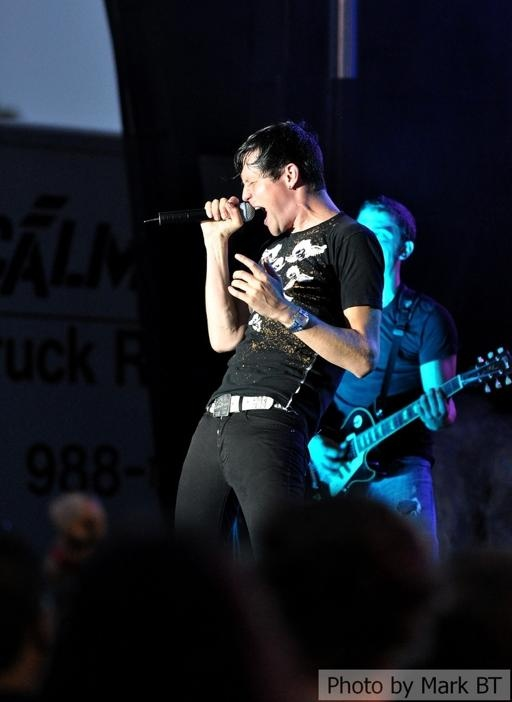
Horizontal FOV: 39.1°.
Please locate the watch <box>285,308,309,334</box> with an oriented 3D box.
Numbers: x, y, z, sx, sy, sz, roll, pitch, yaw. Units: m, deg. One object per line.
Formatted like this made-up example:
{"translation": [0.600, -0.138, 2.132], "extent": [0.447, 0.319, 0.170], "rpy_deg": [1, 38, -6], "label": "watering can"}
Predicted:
{"translation": [0.082, -0.059, 1.361], "extent": [0.034, 0.056, 0.047], "rpy_deg": [7, 3, -13], "label": "watch"}
